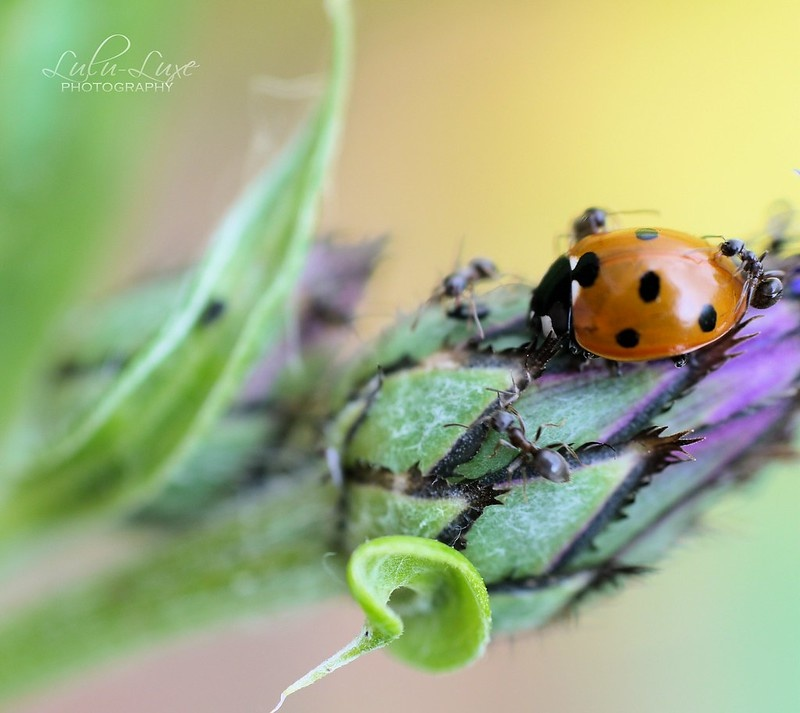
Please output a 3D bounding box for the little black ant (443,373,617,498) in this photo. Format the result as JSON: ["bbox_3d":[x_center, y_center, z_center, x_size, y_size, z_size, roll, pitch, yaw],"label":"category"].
[{"bbox_3d":[0.104,0.076,0.749,0.071,0.029,0.096,-40,62,-21],"label":"little black ant"}]

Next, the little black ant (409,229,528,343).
[{"bbox_3d":[0.059,-0.049,0.901,0.075,0.033,0.110,25,-4,14],"label":"little black ant"}]

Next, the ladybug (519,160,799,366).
[{"bbox_3d":[0.249,-0.070,0.870,0.229,0.109,0.168,5,38,12],"label":"ladybug"}]

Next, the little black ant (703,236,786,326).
[{"bbox_3d":[0.321,-0.093,0.836,0.063,0.022,0.060,21,28,-35],"label":"little black ant"}]
